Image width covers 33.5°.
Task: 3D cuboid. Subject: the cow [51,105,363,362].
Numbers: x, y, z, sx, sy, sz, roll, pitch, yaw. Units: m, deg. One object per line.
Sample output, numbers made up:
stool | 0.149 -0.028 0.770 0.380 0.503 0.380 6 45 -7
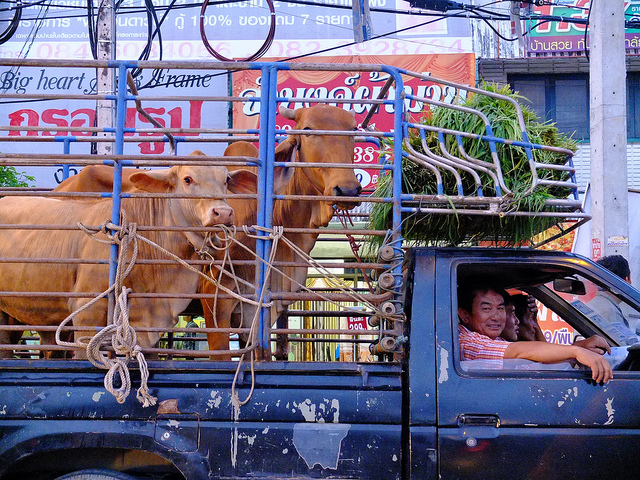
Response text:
cow | -1.299 0.329 10.583 4.619 2.807 1.217 -6 -3 34

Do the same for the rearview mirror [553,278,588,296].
rearview mirror | 2.192 0.417 9.408 0.317 0.154 0.238 -8 -13 28

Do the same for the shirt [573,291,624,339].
shirt | 2.749 0.688 10.284 0.334 0.312 0.472 -5 -12 14

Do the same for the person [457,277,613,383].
person | 1.689 0.643 9.162 1.383 0.753 1.027 -2 23 2
